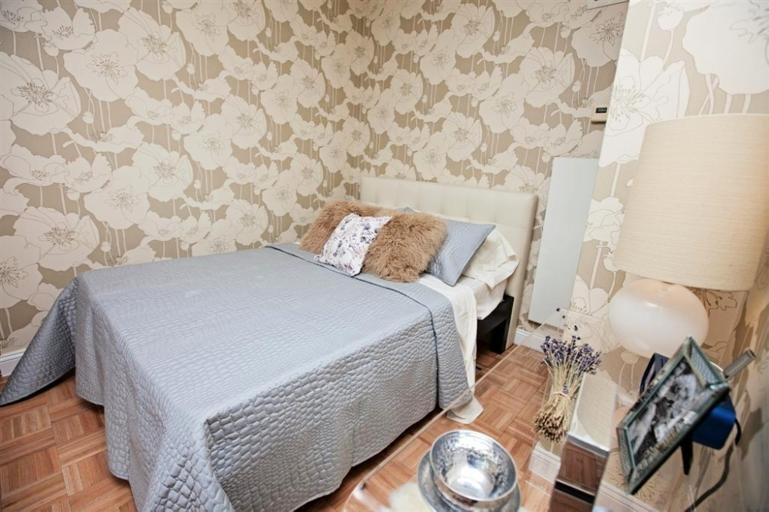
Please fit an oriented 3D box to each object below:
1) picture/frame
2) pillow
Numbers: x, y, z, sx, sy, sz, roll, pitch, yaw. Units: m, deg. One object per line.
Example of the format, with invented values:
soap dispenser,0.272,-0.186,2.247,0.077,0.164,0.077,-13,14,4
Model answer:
picture/frame,1.131,0.644,1.771,0.060,0.590,0.435,31,55,6
pillow,0.027,-0.121,3.136,1.199,0.398,0.664,15,17,36
